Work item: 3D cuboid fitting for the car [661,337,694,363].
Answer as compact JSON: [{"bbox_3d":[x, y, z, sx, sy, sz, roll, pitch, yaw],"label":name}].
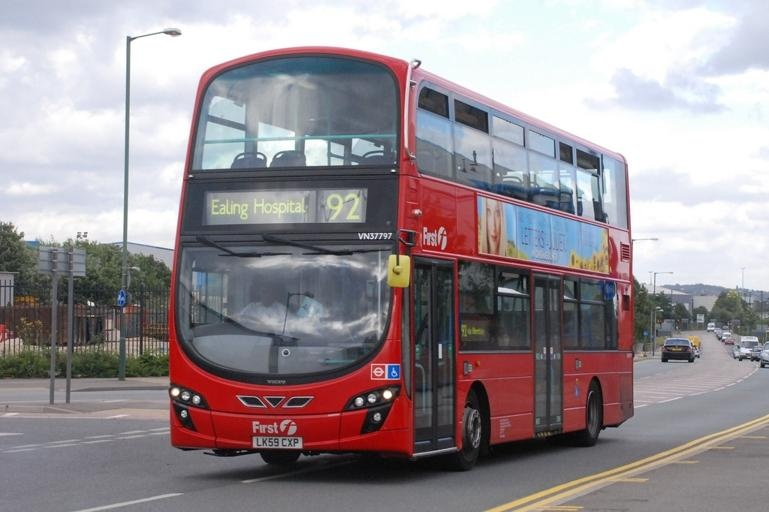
[{"bbox_3d":[26.193,8.423,75.662,2.583,2.217,3.956,4,-4,18],"label":"car"}]
